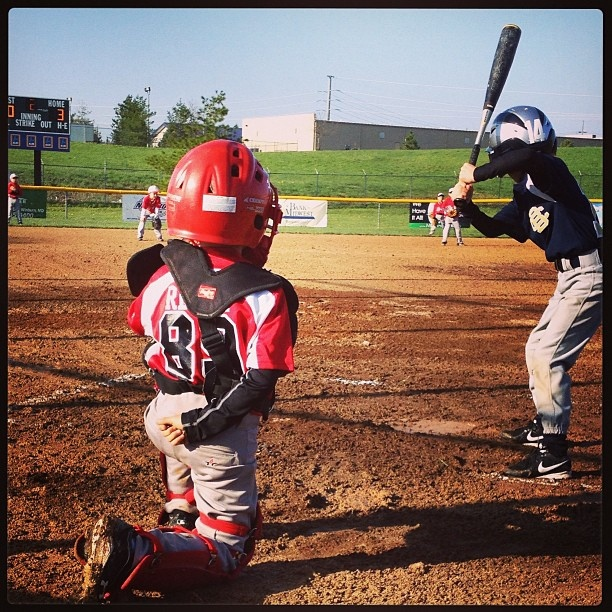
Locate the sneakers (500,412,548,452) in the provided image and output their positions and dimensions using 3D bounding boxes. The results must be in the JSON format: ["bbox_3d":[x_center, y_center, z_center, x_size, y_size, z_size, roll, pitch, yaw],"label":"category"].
[{"bbox_3d":[1.410,0.803,4.631,0.379,0.141,0.118,8,6,16],"label":"sneakers"}]

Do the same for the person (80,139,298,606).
[{"bbox_3d":[-0.441,0.283,2.897,0.801,1.908,0.688,2,9,-11],"label":"person"}]

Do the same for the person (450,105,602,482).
[{"bbox_3d":[1.323,-0.095,4.286,0.890,2.128,0.714,1,9,-16],"label":"person"}]

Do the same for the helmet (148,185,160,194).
[{"bbox_3d":[-3.422,-2.600,16.125,0.303,0.134,0.219,-5,0,42],"label":"helmet"}]

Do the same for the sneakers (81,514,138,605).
[{"bbox_3d":[-0.741,0.909,2.695,0.195,0.371,0.132,18,19,-27],"label":"sneakers"}]

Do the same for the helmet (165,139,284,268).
[{"bbox_3d":[-0.332,-0.424,2.883,0.481,0.495,0.569,9,16,12],"label":"helmet"}]
